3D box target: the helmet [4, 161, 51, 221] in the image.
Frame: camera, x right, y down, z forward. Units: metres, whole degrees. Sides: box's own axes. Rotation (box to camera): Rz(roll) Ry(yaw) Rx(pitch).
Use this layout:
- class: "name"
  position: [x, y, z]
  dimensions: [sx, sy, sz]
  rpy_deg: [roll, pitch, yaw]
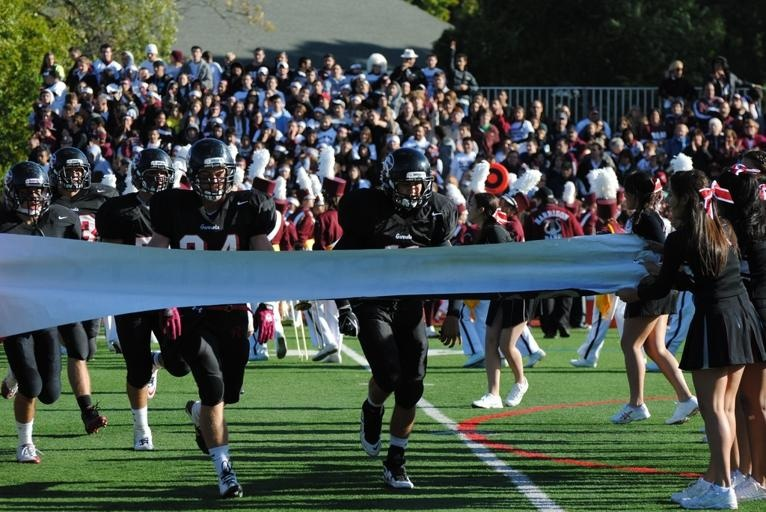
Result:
- class: "helmet"
  position: [-3.460, -0.639, 13.220]
  dimensions: [0.426, 0.503, 0.564]
  rpy_deg: [1, 5, -26]

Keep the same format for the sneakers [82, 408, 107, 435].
- class: "sneakers"
  position: [-2.925, 1.697, 13.855]
  dimensions: [0.160, 0.201, 0.430]
  rpy_deg: [-1, -21, -37]

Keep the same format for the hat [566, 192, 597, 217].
- class: "hat"
  position: [3.013, -0.826, 20.946]
  dimensions: [0.475, 0.399, 0.720]
  rpy_deg: [1, 10, 7]

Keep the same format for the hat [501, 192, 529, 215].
- class: "hat"
  position: [1.932, -0.723, 19.793]
  dimensions: [0.238, 0.336, 0.495]
  rpy_deg: [-43, 1, 4]

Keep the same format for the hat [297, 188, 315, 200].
- class: "hat"
  position: [-1.149, -0.882, 19.870]
  dimensions: [0.195, 0.116, 0.149]
  rpy_deg: [-2, 4, 4]

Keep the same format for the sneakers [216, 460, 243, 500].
- class: "sneakers"
  position: [-1.415, 2.054, 12.573]
  dimensions: [0.223, 0.326, 0.297]
  rpy_deg: [-2, 10, -7]

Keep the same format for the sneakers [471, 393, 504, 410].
- class: "sneakers"
  position: [1.152, 1.638, 15.045]
  dimensions: [0.354, 0.158, 0.146]
  rpy_deg: [2, -1, -14]

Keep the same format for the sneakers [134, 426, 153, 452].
- class: "sneakers"
  position: [-2.407, 1.832, 13.643]
  dimensions: [0.202, 0.211, 0.261]
  rpy_deg: [-2, 10, -11]

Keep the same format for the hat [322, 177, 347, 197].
- class: "hat"
  position: [-0.654, -0.946, 19.414]
  dimensions: [0.274, 0.203, 0.349]
  rpy_deg: [20, 19, 33]

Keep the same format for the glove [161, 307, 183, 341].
- class: "glove"
  position: [-1.965, 0.641, 12.663]
  dimensions: [0.181, 0.296, 0.118]
  rpy_deg: [-2, 10, -11]

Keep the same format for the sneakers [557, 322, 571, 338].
- class: "sneakers"
  position: [2.703, 1.151, 20.335]
  dimensions: [0.140, 0.219, 0.223]
  rpy_deg: [-1, -19, 0]

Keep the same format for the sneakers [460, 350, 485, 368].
- class: "sneakers"
  position: [1.187, 1.335, 17.381]
  dimensions: [0.349, 0.154, 0.130]
  rpy_deg: [-20, -5, 30]

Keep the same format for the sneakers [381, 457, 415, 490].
- class: "sneakers"
  position: [0.150, 2.049, 12.754]
  dimensions: [0.288, 0.244, 0.254]
  rpy_deg: [0, 10, -1]

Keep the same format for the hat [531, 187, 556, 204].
- class: "hat"
  position: [2.274, -0.825, 19.042]
  dimensions: [0.223, 0.120, 0.310]
  rpy_deg: [11, 6, 5]

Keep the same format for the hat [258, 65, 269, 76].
- class: "hat"
  position: [-2.130, -3.311, 24.464]
  dimensions: [0.157, 0.176, 0.192]
  rpy_deg: [-1, -5, -26]

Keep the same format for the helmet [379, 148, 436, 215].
- class: "helmet"
  position: [0.232, -0.694, 12.861]
  dimensions: [0.450, 0.483, 0.594]
  rpy_deg: [-2, 26, -14]

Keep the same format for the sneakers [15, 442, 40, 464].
- class: "sneakers"
  position: [-3.458, 1.949, 13.246]
  dimensions: [0.129, 0.116, 0.294]
  rpy_deg: [6, -8, -38]

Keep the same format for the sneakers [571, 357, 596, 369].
- class: "sneakers"
  position: [2.573, 1.402, 17.558]
  dimensions: [0.373, 0.154, 0.128]
  rpy_deg: [2, 7, -8]

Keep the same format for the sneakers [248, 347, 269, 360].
- class: "sneakers"
  position: [-1.644, 1.325, 18.073]
  dimensions: [0.249, 0.172, 0.355]
  rpy_deg: [-1, 10, -6]

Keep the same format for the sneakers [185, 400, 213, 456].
- class: "sneakers"
  position: [-1.768, 1.682, 13.106]
  dimensions: [0.203, 0.586, 0.233]
  rpy_deg: [-27, 29, -27]

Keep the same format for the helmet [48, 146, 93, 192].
- class: "helmet"
  position: [-3.337, -0.911, 14.532]
  dimensions: [0.376, 0.394, 0.500]
  rpy_deg: [0, 2, -21]

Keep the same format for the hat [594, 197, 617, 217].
- class: "hat"
  position: [3.019, -0.643, 18.451]
  dimensions: [0.250, 0.169, 0.244]
  rpy_deg: [0, 6, -8]

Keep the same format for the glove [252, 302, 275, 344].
- class: "glove"
  position: [-1.130, 0.641, 12.887]
  dimensions: [0.184, 0.418, 0.231]
  rpy_deg: [-1, 10, -2]

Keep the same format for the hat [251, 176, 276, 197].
- class: "hat"
  position: [-1.607, -0.918, 18.373]
  dimensions: [0.254, 0.230, 0.625]
  rpy_deg: [-2, 10, -10]

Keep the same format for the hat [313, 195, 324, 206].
- class: "hat"
  position: [-0.932, -0.792, 19.794]
  dimensions: [0.133, 0.134, 0.242]
  rpy_deg: [-2, 10, -7]

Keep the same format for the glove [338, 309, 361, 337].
- class: "glove"
  position: [-0.326, 0.641, 12.819]
  dimensions: [0.184, 0.270, 0.223]
  rpy_deg: [-1, 10, -5]

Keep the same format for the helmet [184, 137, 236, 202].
- class: "helmet"
  position: [-1.620, -0.808, 12.745]
  dimensions: [0.448, 0.477, 0.585]
  rpy_deg: [-5, 24, -19]

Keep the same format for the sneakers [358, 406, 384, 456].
- class: "sneakers"
  position: [-0.130, 1.694, 13.187]
  dimensions: [0.186, 0.541, 0.250]
  rpy_deg: [3, 8, -5]
